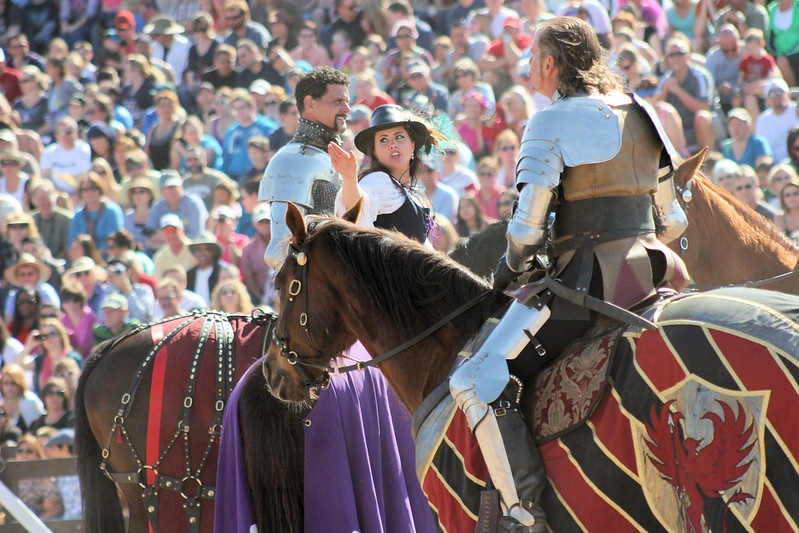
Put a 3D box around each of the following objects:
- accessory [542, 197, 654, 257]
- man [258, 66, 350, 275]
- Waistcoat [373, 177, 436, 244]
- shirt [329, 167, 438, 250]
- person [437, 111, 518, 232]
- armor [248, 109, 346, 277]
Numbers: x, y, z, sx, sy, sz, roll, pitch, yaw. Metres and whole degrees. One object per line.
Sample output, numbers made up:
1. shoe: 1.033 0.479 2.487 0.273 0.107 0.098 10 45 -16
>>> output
1. accessory: 2.042 -0.468 20.871 0.763 0.388 0.689 -10 -8 12
2. man: -1.068 -0.746 22.480 0.954 2.846 1.287 -1 -3 26
3. Waistcoat: -0.032 -0.655 22.217 0.669 1.085 0.856 0 1 11
4. shirt: -0.062 -0.619 22.046 0.771 0.511 1.437 19 -4 4
5. person: 1.005 -1.259 27.063 1.272 1.496 0.643 6 -12 -10
6. armor: -1.091 -0.909 22.772 1.001 1.593 1.740 8 8 8
